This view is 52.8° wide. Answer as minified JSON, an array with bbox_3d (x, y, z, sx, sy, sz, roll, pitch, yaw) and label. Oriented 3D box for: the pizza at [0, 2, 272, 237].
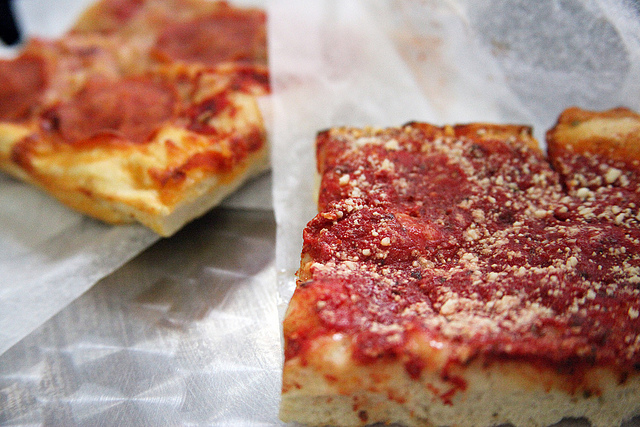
[{"bbox_3d":[-0.488,-0.299,1.771,0.671,0.348,0.638,3,56,14],"label":"pizza"}]
